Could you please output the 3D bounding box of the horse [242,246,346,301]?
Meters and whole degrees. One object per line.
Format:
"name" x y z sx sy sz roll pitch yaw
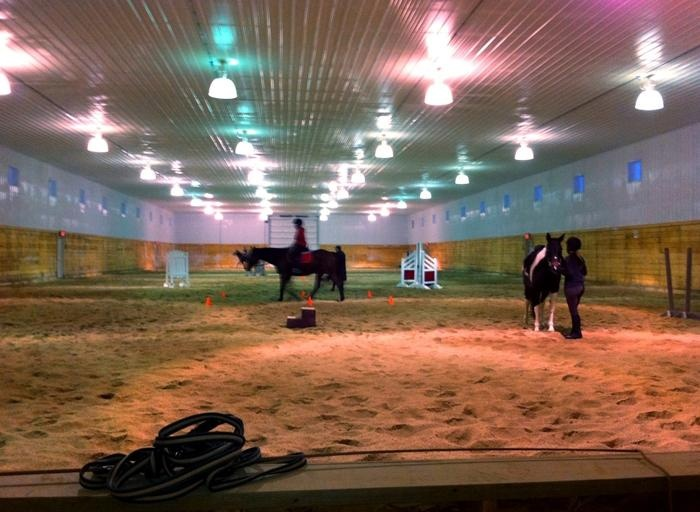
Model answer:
"horse" -1.392 0.447 13.132 1.778 1.385 2.771 0 -2 -41

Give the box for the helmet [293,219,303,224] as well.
"helmet" -1.326 -0.855 12.825 0.312 0.118 0.396 1 3 3

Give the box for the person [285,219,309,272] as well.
"person" -1.406 -0.344 13.243 0.532 1.427 1.946 -1 -1 -6

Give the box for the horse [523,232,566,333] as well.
"horse" 3.180 0.525 8.266 0.626 1.503 2.403 5 -3 14
